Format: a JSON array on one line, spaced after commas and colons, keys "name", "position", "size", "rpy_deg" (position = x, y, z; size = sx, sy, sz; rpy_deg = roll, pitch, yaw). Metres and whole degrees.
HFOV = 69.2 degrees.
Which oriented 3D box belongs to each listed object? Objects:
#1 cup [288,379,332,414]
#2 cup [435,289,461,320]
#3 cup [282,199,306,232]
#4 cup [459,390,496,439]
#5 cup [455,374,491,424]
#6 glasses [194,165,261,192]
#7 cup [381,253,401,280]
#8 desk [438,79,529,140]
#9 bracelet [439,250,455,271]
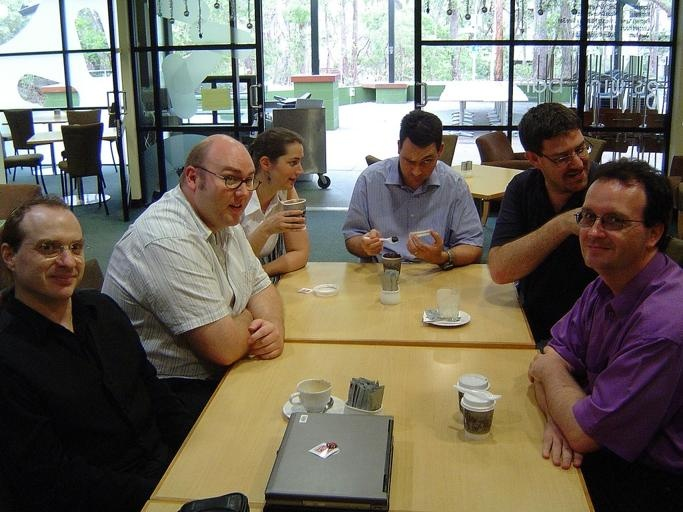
[{"name": "cup", "position": [-0.097, 0.437, 1.503], "size": [0.131, 0.087, 0.098], "rpy_deg": [-5, 7, -36]}, {"name": "cup", "position": [0.448, 0.208, 2.148], "size": [0.109, 0.155, 0.116], "rpy_deg": [0, 2, 0]}, {"name": "cup", "position": [-0.245, -0.231, 2.651], "size": [0.147, 0.177, 0.149], "rpy_deg": [-2, 14, 0]}, {"name": "cup", "position": [0.379, 0.438, 1.376], "size": [0.100, 0.104, 0.109], "rpy_deg": [-2, 11, 0]}, {"name": "cup", "position": [0.393, 0.422, 1.527], "size": [0.101, 0.114, 0.108], "rpy_deg": [-1, 21, 0]}, {"name": "glasses", "position": [-0.437, -0.306, 1.973], "size": [0.130, 0.039, 0.131], "rpy_deg": [30, 13, 21]}, {"name": "cup", "position": [0.241, 0.053, 2.516], "size": [0.098, 0.119, 0.104], "rpy_deg": [0, 7, 0]}, {"name": "desk", "position": [2.037, -2.116, 7.326], "size": [0.785, 0.421, 0.846], "rpy_deg": [-3, 32, 0]}, {"name": "bracelet", "position": [0.580, 0.022, 2.730], "size": [0.068, 0.100, 0.099], "rpy_deg": [4, 23, 13]}]
